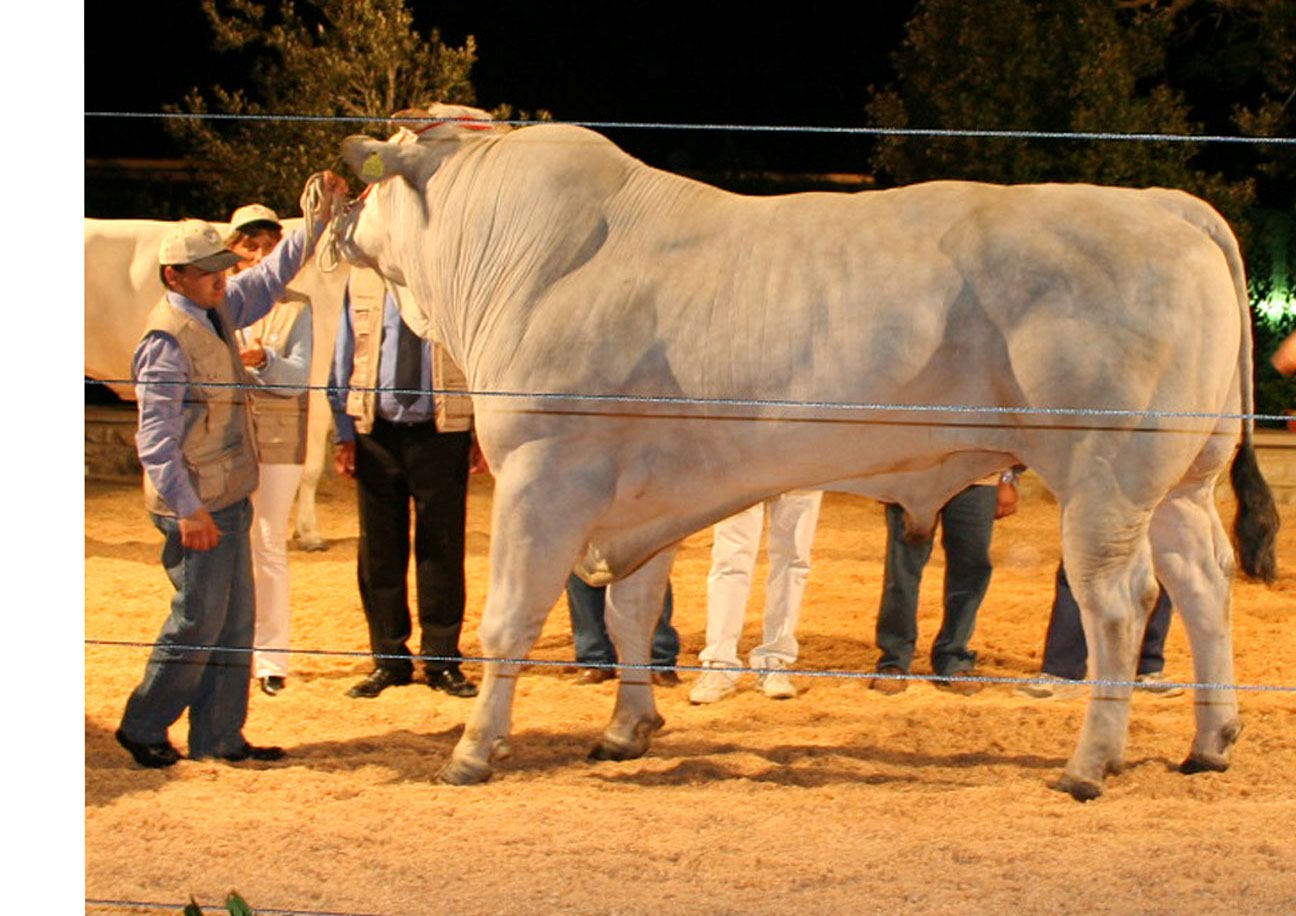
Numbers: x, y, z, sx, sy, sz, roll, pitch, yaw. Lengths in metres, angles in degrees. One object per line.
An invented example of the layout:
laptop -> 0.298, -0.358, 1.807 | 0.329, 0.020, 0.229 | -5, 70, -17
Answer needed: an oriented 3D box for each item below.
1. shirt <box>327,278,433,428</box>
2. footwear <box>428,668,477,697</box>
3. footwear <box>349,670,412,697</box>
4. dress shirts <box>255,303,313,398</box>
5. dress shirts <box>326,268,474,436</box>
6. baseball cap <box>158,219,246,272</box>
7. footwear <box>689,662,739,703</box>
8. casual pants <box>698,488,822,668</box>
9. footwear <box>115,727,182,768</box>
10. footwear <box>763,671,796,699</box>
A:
shirt -> -1.228, -0.475, 9.253 | 0.609, 0.697, 0.263 | -1, 1, 4
footwear -> -0.897, 1.053, 9.166 | 0.275, 0.098, 0.104 | 1, 7, 42
footwear -> -1.250, 1.047, 9.157 | 0.296, 0.114, 0.102 | -2, 10, -37
dress shirts -> -1.648, -0.482, 8.929 | 0.453, 0.405, 0.180 | 3, -8, 38
dress shirts -> -1.087, -0.465, 8.869 | 0.884, 0.899, 0.514 | 0, -4, 2
baseball cap -> -1.872, -0.884, 8.212 | 0.315, 0.157, 0.209 | 0, 14, 8
footwear -> 0.328, 1.034, 8.996 | 0.153, 0.149, 0.421 | 1, 0, 28
casual pants -> 0.579, 0.486, 9.175 | 0.590, 1.140, 0.329 | 2, 27, 2
footwear -> -2.063, 1.211, 8.237 | 0.362, 0.131, 0.112 | 9, 8, -1
footwear -> 0.622, 1.061, 9.111 | 0.133, 0.107, 0.287 | 0, -8, -11
